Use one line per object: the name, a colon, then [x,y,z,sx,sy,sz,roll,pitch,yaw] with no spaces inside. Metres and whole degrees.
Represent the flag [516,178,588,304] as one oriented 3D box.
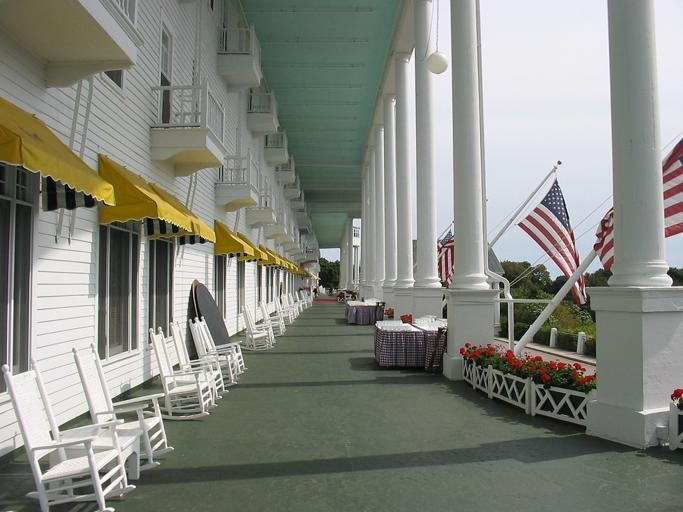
flag: [4.336,-0.476,11.933,1.549,3.572,0.386,23,-39,-5]
